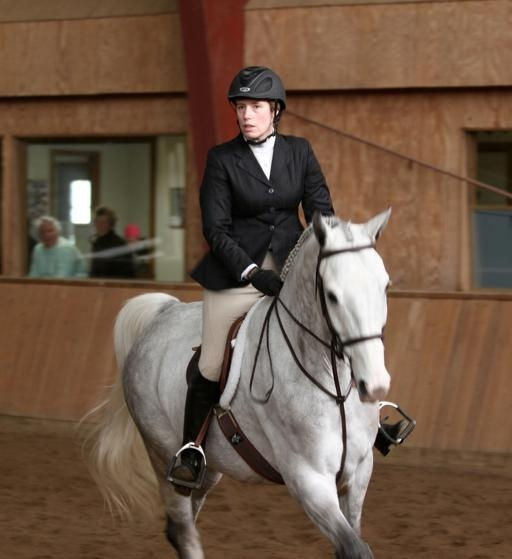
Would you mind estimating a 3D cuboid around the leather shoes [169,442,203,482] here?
[{"bbox_3d":[-0.453,1.238,9.121,0.193,0.320,0.106,10,6,24],"label":"leather shoes"}]

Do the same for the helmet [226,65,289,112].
[{"bbox_3d":[0.016,-1.238,8.936,0.333,0.350,0.448,1,-12,24],"label":"helmet"}]
